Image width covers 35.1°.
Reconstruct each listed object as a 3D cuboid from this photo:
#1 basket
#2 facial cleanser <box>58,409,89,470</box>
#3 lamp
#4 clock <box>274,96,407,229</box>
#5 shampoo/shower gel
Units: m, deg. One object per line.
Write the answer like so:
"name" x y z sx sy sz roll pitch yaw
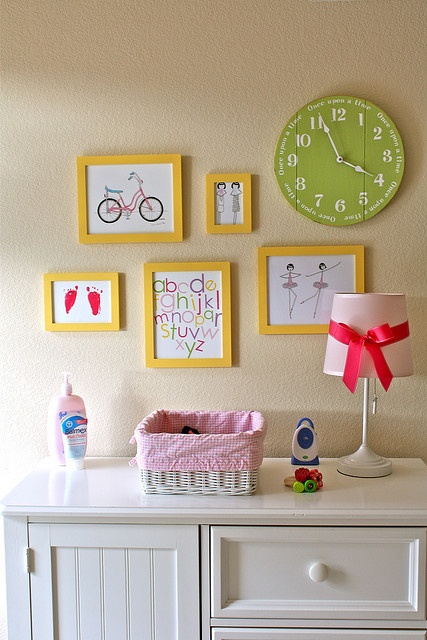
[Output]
"basket" -0.020 0.299 1.615 0.302 0.173 0.266 0 0 2
"facial cleanser" -0.348 0.300 1.695 0.066 0.140 0.059 -2 13 -4
"lamp" 0.365 0.157 1.651 0.194 0.428 0.239 -2 0 -12
"clock" 0.338 -0.427 1.759 0.390 0.358 0.035 0 5 3
"shampoo/shower gel" -0.366 0.258 1.719 0.097 0.239 0.092 -2 13 -10
